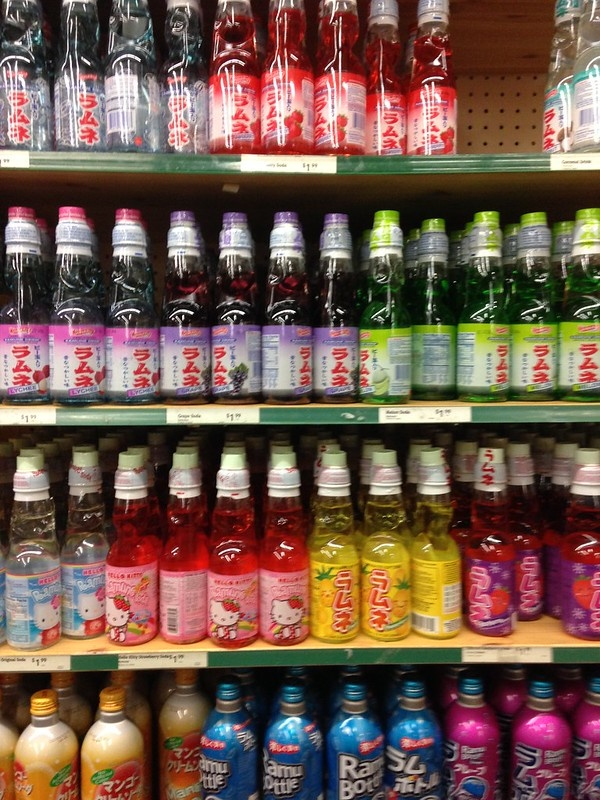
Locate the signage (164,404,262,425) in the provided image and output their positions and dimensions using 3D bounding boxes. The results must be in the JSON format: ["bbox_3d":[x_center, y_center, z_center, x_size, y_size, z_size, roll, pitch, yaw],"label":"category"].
[{"bbox_3d":[-0.179,0.030,1.469,0.191,0.053,0.130,-4,6,-4],"label":"signage"}]

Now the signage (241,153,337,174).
[{"bbox_3d":[-0.023,-0.481,1.417,0.200,0.045,0.021,-4,6,-4],"label":"signage"}]
